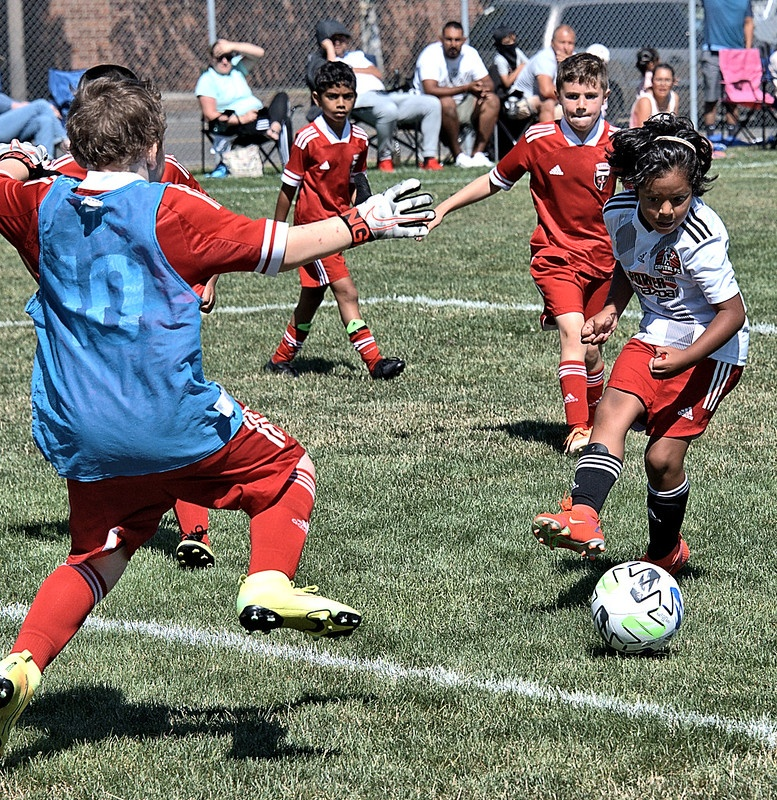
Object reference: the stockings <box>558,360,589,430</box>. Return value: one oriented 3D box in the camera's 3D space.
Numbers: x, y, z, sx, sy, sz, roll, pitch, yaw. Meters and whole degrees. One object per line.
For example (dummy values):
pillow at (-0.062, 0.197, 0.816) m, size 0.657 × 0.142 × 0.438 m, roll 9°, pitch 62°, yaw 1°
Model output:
stockings at (0.856, 0.016, 6.394) m, size 0.124 × 0.385 × 0.118 m, roll -8°, pitch -14°, yaw 14°

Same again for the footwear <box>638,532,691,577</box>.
footwear at (0.974, 0.521, 4.814) m, size 0.094 × 0.113 × 0.265 m, roll 26°, pitch 19°, yaw 35°

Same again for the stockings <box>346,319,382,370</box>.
stockings at (-0.151, -0.330, 7.994) m, size 0.162 × 0.399 × 0.113 m, roll -3°, pitch 53°, yaw 6°

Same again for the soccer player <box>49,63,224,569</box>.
soccer player at (-0.807, -0.226, 4.734) m, size 0.430 × 1.535 × 0.592 m, roll -1°, pitch -4°, yaw -12°

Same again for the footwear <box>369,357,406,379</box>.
footwear at (0.005, -0.187, 7.899) m, size 0.087 × 0.108 × 0.233 m, roll -8°, pitch -5°, yaw -42°

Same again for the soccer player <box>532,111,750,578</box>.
soccer player at (0.831, -0.107, 4.469) m, size 0.594 × 1.577 × 1.009 m, roll 2°, pitch 15°, yaw 14°

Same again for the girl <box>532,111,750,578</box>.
girl at (0.831, -0.107, 4.471) m, size 0.596 × 1.577 × 1.006 m, roll 2°, pitch 15°, yaw 14°

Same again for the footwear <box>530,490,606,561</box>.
footwear at (0.577, 0.406, 4.475) m, size 0.248 × 0.091 × 0.229 m, roll 20°, pitch 35°, yaw -7°
